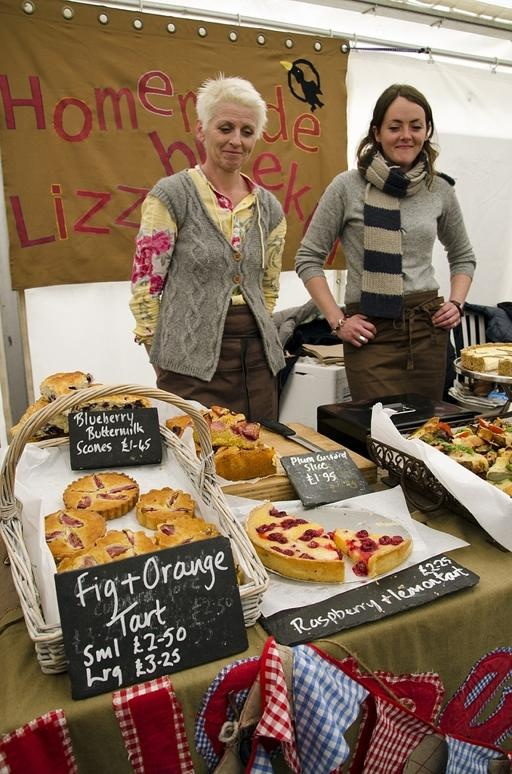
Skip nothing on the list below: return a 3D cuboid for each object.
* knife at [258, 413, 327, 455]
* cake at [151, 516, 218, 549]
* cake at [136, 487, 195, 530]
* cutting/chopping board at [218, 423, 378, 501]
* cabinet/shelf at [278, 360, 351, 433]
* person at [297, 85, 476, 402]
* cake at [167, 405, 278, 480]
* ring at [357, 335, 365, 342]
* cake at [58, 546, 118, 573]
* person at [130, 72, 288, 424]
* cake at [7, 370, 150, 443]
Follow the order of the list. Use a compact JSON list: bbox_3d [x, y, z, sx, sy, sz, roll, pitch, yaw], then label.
[{"bbox_3d":[0.098,0.112,1.495,0.054,0.019,0.353,-4,13,-18],"label":"knife"},{"bbox_3d":[-0.123,0.222,0.944,0.077,0.019,0.075,-6,13,-25],"label":"cake"},{"bbox_3d":[-0.170,0.212,1.053,0.073,0.021,0.074,9,21,11],"label":"cake"},{"bbox_3d":[0.068,0.187,1.300,0.188,0.031,0.194,-9,23,-27],"label":"cutting/chopping board"},{"bbox_3d":[0.276,0.025,2.648,0.260,0.449,0.255,-15,22,-40],"label":"cabinet/shelf"},{"bbox_3d":[0.555,-0.508,2.174,0.666,1.100,0.424,-8,15,-23],"label":"person"},{"bbox_3d":[-0.064,0.097,1.338,0.145,0.083,0.235,-10,24,-30],"label":"cake"},{"bbox_3d":[0.373,-0.169,2.050,0.020,0.019,0.019,33,3,-2],"label":"ring"},{"bbox_3d":[-0.241,0.250,0.829,0.068,0.015,0.048,-11,-1,-22],"label":"cake"},{"bbox_3d":[-0.143,-0.383,1.869,0.545,1.075,0.294,-6,15,-15],"label":"person"},{"bbox_3d":[-0.393,0.020,1.336,0.308,0.098,0.179,-13,21,-21],"label":"cake"}]
